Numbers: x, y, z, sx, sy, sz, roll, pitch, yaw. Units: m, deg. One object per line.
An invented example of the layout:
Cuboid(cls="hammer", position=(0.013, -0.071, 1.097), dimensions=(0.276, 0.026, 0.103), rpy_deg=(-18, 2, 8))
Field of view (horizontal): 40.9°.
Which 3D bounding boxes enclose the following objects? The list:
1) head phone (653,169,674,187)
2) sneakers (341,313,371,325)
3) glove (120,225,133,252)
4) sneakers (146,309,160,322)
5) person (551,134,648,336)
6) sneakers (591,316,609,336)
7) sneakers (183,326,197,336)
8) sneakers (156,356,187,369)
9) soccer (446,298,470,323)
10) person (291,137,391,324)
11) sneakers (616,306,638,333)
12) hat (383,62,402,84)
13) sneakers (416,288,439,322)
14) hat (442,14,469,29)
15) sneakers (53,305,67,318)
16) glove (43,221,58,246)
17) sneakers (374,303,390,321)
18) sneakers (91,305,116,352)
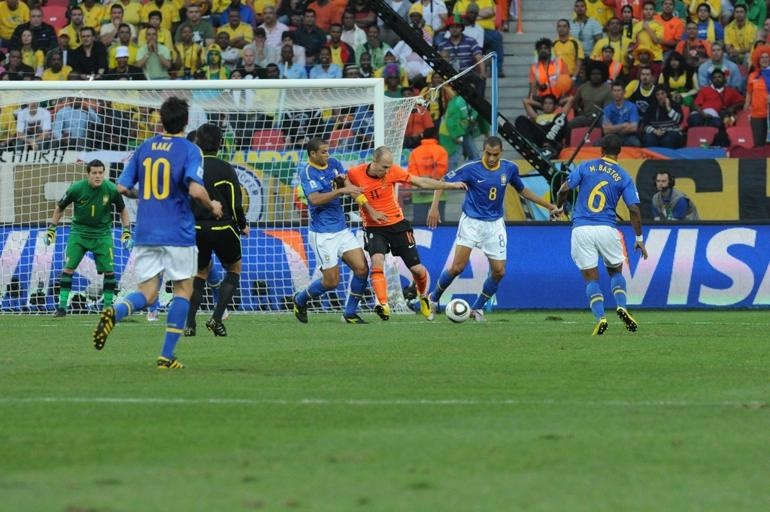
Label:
Cuboid(cls="head phone", position=(4.598, -1.250, 16.903), dimensions=(0.271, 0.253, 0.290), rpy_deg=(0, 0, 14))
Cuboid(cls="sneakers", position=(-0.372, 0.838, 13.919), dimensions=(0.360, 0.138, 0.124), rpy_deg=(2, 8, -8))
Cuboid(cls="glove", position=(-3.678, -0.240, 14.755), dimensions=(0.154, 0.393, 0.264), rpy_deg=(0, -5, 30))
Cuboid(cls="sneakers", position=(-3.295, 0.836, 14.639), dimensions=(0.173, 0.170, 0.184), rpy_deg=(-1, -12, 16))
Cuboid(cls="person", position=(2.747, -0.238, 12.639), dimensions=(0.952, 2.461, 1.314), rpy_deg=(0, 10, -3))
Cuboid(cls="sneakers", position=(2.549, 0.853, 12.212), dimensions=(0.129, 0.131, 0.334), rpy_deg=(-1, -17, -2))
Cuboid(cls="sneakers", position=(-2.297, 0.896, 12.295), dimensions=(0.089, 0.133, 0.141), rpy_deg=(-4, -12, 11))
Cuboid(cls="sneakers", position=(-2.042, 1.014, 9.906), dimensions=(0.304, 0.117, 0.095), rpy_deg=(3, 22, -19))
Cuboid(cls="soccer", position=(0.983, 0.696, 13.442), dimensions=(0.317, 0.284, 0.297), rpy_deg=(6, -10, 1))
Cuboid(cls="person", position=(-0.690, -0.284, 13.520), dimensions=(0.985, 2.484, 0.855), rpy_deg=(0, 10, -5))
Cuboid(cls="sneakers", position=(3.049, 0.800, 12.967), dimensions=(0.162, 0.312, 0.115), rpy_deg=(-16, -29, -52))
Cuboid(cls="hat", position=(0.128, -3.335, 18.994), dimensions=(0.348, 0.356, 0.359), rpy_deg=(0, -39, -1))
Cuboid(cls="sneakers", position=(0.565, 0.668, 13.836), dimensions=(0.200, 0.450, 0.172), rpy_deg=(-18, 5, 31))
Cuboid(cls="hat", position=(1.381, -4.419, 19.538), dimensions=(0.464, 0.223, 0.526), rpy_deg=(0, 0, 10))
Cuboid(cls="sneakers", position=(-4.706, 0.819, 14.982), dimensions=(0.098, 0.118, 0.291), rpy_deg=(1, -11, -12))
Cuboid(cls="glove", position=(-4.738, -0.309, 14.669), dimensions=(0.172, 0.339, 0.451), rpy_deg=(-3, 10, -18))
Cuboid(cls="sneakers", position=(-0.019, 0.686, 13.031), dimensions=(0.114, 0.125, 0.278), rpy_deg=(7, -16, 13))
Cuboid(cls="sneakers", position=(-3.000, 0.783, 11.054), dimensions=(0.182, 0.477, 0.242), rpy_deg=(18, -9, 24))
